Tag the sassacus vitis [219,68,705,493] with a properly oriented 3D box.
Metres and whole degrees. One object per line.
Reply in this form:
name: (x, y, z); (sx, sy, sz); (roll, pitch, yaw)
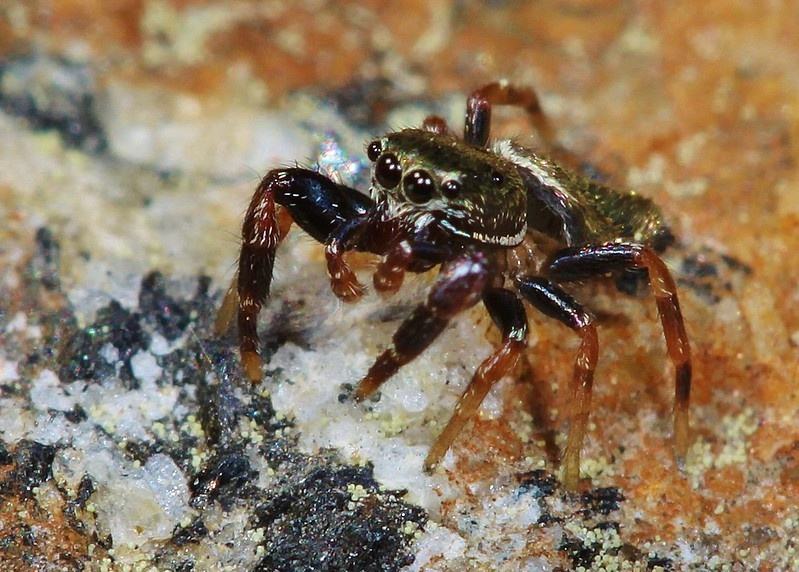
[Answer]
sassacus vitis: (0.199, -0.042, 2.758); (1.406, 0.743, 0.612); (11, 8, -11)
